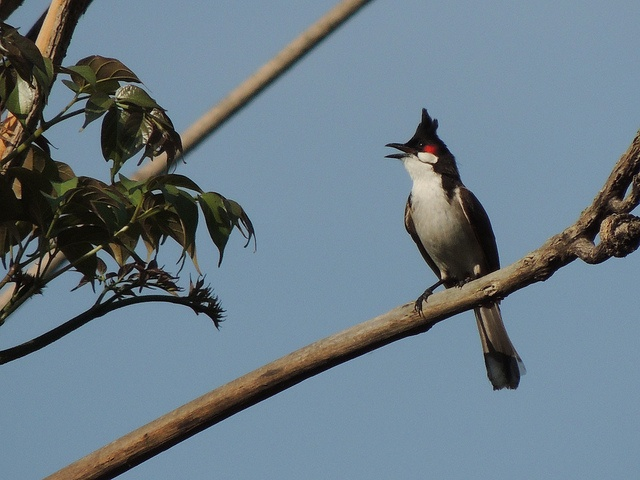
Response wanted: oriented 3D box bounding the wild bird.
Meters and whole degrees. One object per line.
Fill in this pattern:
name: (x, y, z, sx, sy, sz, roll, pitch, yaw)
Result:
wild bird: (0.558, -0.033, 5.389, 0.620, 1.333, 0.528, 2, -41, 9)
